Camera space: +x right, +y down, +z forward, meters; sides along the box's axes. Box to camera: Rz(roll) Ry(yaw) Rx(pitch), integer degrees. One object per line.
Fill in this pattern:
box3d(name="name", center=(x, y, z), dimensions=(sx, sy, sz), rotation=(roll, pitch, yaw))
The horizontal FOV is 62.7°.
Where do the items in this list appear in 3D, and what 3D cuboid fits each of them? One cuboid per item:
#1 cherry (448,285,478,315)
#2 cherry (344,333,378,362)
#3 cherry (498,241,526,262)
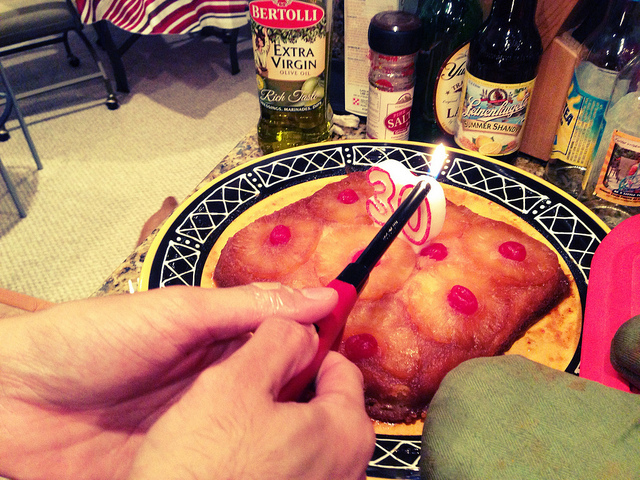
box3d(name="cherry", center=(0.261, 0.112, 0.958), dimensions=(0.055, 0.020, 0.042), rotation=(18, 52, 19))
box3d(name="cherry", center=(0.074, 0.193, 0.926), dimensions=(0.074, 0.021, 0.062), rotation=(0, 69, -1))
box3d(name="cherry", center=(0.373, 0.024, 1.016), dimensions=(0.053, 0.014, 0.036), rotation=(18, 52, 19))
